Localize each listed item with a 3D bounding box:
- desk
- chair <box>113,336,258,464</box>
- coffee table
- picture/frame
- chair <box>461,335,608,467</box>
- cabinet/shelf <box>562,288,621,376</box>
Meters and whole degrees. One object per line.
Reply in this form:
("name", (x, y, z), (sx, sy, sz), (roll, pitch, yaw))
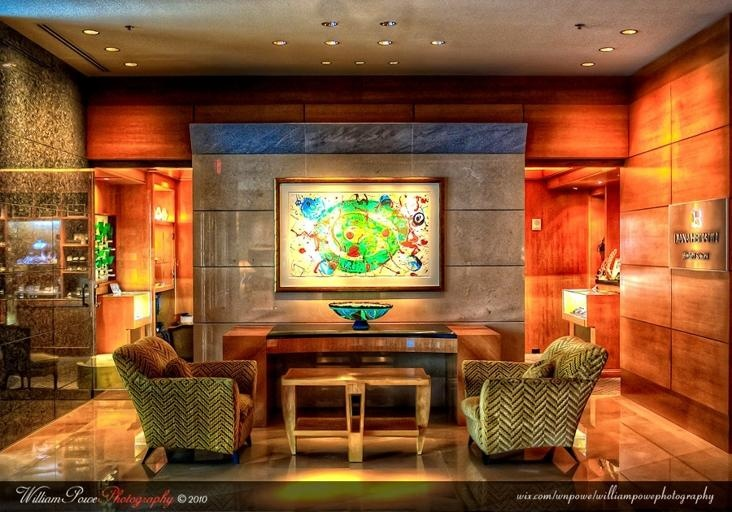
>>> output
("desk", (-0.016, 1.392, 6.899), (3.254, 0.920, 0.912), (-1, 1, 3))
("chair", (-1.835, 1.423, 5.798), (1.409, 0.850, 1.142), (7, 0, -12))
("coffee table", (-0.089, 1.701, 5.939), (1.576, 0.711, 0.806), (0, -9, 0))
("picture/frame", (-0.120, -0.334, 7.101), (1.836, 1.027, 0.066), (0, -1, -1))
("chair", (1.637, 1.423, 5.889), (1.608, 1.057, 1.214), (0, -7, 0))
("cabinet/shelf", (3.107, 1.010, 7.458), (0.673, 1.210, 1.459), (0, -3, 6))
